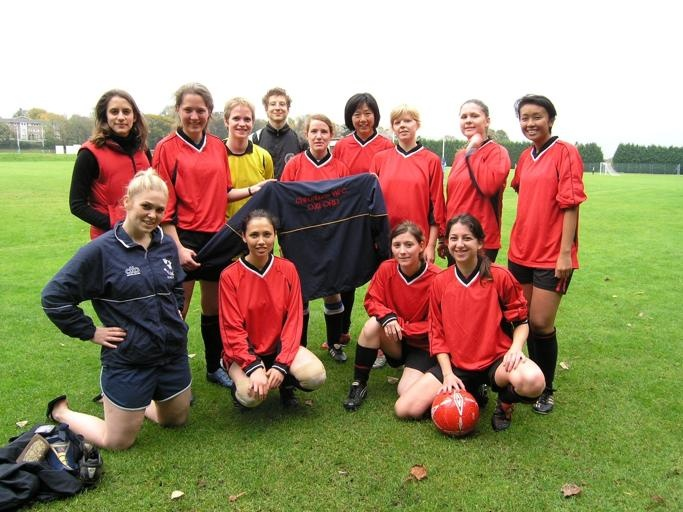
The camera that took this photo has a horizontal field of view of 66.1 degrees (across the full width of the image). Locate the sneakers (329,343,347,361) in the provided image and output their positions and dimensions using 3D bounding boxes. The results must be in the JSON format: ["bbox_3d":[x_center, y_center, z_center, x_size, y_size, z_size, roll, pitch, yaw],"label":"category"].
[{"bbox_3d":[-0.052,1.252,6.882,0.116,0.165,0.329,-1,3,-19],"label":"sneakers"}]

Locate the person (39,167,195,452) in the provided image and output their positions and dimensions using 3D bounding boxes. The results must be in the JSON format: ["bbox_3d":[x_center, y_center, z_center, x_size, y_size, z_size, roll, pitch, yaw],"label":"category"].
[{"bbox_3d":[-2.047,0.492,4.892,1.158,2.542,0.534,-4,10,-21],"label":"person"}]

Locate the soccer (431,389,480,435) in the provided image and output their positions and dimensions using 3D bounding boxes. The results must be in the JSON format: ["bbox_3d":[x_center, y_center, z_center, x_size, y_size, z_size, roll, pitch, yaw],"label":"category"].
[{"bbox_3d":[1.072,1.508,5.058,0.399,0.413,0.324,29,40,-11],"label":"soccer"}]

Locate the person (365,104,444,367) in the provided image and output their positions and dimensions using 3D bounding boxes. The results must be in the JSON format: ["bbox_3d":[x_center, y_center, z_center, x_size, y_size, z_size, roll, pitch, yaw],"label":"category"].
[{"bbox_3d":[0.835,-0.263,6.727,0.994,3.378,0.949,0,28,11],"label":"person"}]

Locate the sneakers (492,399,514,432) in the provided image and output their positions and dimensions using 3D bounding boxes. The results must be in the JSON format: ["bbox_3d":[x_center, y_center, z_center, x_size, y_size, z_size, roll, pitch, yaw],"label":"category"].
[{"bbox_3d":[1.596,1.601,5.219,0.121,0.174,0.385,-1,-1,11],"label":"sneakers"}]

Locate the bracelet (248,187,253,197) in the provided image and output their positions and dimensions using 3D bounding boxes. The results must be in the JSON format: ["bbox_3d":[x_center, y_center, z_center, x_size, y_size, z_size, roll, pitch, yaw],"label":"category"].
[{"bbox_3d":[-1.066,-0.758,6.156,0.063,0.054,0.068,-2,-18,3],"label":"bracelet"}]

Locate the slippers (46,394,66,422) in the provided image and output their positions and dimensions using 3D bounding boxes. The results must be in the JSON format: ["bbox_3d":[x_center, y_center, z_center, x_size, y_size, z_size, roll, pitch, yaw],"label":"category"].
[{"bbox_3d":[-2.741,1.483,5.067,0.077,0.244,0.084,21,-13,-3],"label":"slippers"}]

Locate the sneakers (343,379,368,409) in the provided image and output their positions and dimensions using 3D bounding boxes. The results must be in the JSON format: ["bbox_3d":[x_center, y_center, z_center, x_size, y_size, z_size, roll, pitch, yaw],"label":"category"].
[{"bbox_3d":[0.146,1.505,5.685,0.144,0.212,0.341,5,12,25],"label":"sneakers"}]

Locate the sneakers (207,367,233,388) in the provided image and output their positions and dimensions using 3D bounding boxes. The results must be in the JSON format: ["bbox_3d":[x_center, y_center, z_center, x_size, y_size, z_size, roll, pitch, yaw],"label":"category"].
[{"bbox_3d":[-1.420,1.441,6.167,0.367,0.190,0.149,8,10,27],"label":"sneakers"}]

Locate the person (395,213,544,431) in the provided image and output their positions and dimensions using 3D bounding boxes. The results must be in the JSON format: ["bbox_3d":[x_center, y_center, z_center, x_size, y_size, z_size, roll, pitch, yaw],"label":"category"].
[{"bbox_3d":[1.413,0.644,5.317,1.059,2.054,0.726,2,10,10],"label":"person"}]

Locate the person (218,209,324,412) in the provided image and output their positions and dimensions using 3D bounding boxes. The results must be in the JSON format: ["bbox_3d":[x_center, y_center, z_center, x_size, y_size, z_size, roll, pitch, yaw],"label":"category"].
[{"bbox_3d":[-0.768,0.608,5.497,0.974,2.115,0.814,-4,10,-18],"label":"person"}]
